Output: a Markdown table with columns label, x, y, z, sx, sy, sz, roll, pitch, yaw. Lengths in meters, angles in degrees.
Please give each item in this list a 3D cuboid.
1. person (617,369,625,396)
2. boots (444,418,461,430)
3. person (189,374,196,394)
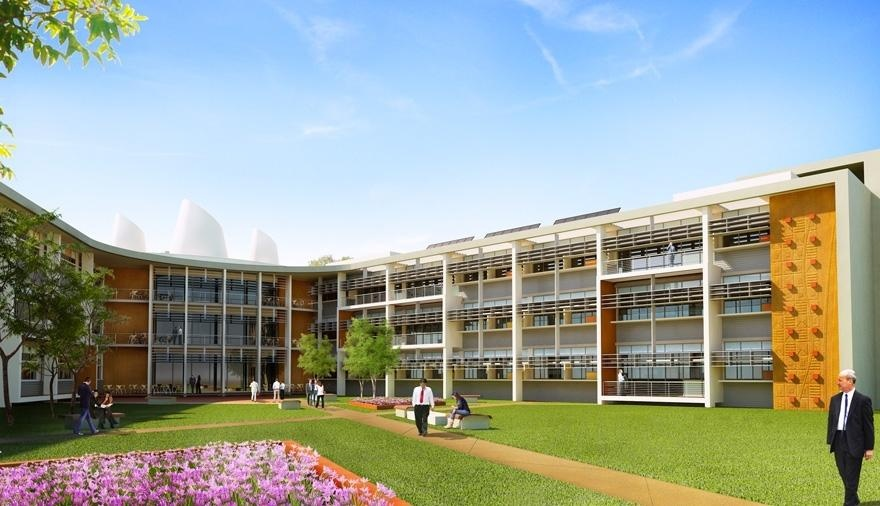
| label | x | y | z | sx | sy | sz | roll | pitch | yaw |
| --- | --- | --- | --- | --- | --- | --- | --- | --- | --- |
| person | 14.345 | 10.205 | 50.455 | 0.725 | 2.130 | 1.221 | -6 | -16 | 14 |
| boots | 0.642 | 8.201 | 30.651 | 0.367 | 0.631 | 1.046 | 6 | -13 | -35 |
| person | -25.531 | 13.429 | 65.404 | 0.591 | 1.810 | 0.149 | 7 | -18 | -28 |
